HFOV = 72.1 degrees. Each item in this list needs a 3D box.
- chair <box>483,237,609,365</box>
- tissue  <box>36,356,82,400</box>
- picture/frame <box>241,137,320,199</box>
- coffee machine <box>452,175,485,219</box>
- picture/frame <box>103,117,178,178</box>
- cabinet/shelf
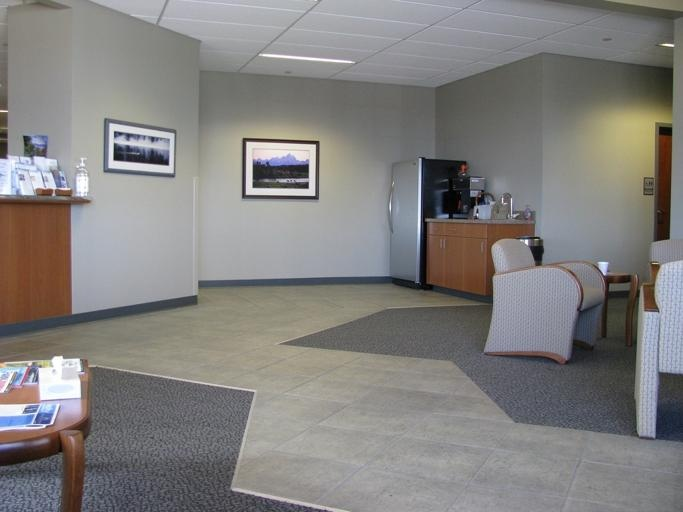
[{"bbox_3d":[1.879,0.376,4.326,0.825,0.996,0.905,2,3,42],"label":"chair"},{"bbox_3d":[-1.156,0.506,1.909,0.176,0.120,0.181,10,-4,-39],"label":"tissue "},{"bbox_3d":[-1.093,-1.479,7.908,1.084,0.797,0.045,1,-2,-19],"label":"picture/frame"},{"bbox_3d":[1.989,-0.937,7.567,0.651,0.684,0.583,-1,9,3],"label":"coffee machine"},{"bbox_3d":[-2.418,-1.284,5.567,0.042,0.591,0.878,3,2,41],"label":"picture/frame"},{"bbox_3d":[2.066,-0.012,7.189,1.021,1.268,1.766,0,2,-23],"label":"cabinet/shelf"}]
